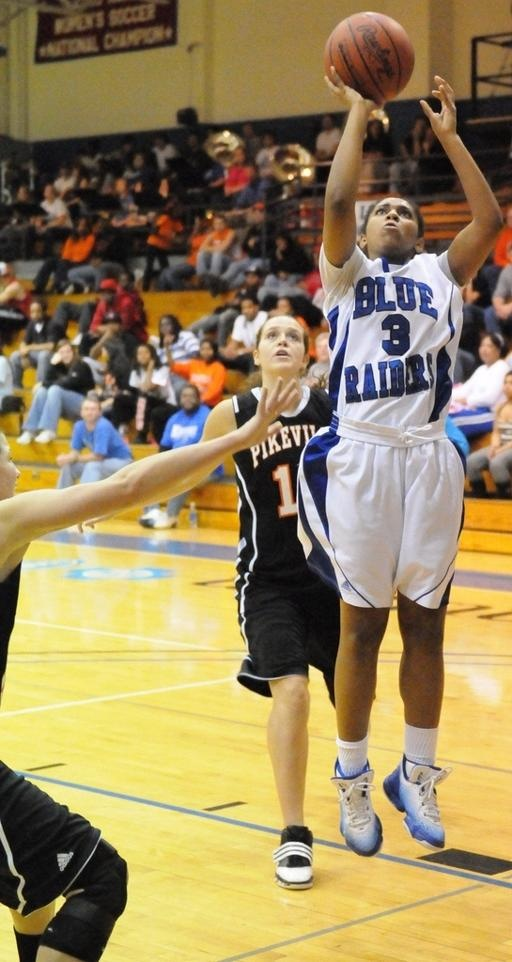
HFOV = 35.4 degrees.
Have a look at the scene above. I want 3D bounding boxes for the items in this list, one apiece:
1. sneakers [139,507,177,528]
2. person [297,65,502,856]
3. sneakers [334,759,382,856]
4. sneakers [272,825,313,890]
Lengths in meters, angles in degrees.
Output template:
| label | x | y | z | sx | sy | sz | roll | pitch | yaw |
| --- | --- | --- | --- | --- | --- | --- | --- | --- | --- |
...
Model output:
| label | x | y | z | sx | sy | sz | roll | pitch | yaw |
| --- | --- | --- | --- | --- | --- | --- | --- | --- | --- |
| sneakers | -1.159 | 0.438 | 9.533 | 0.197 | 0.201 | 0.439 | 1 | -8 | 28 |
| person | 0.331 | -0.048 | 1.939 | 0.454 | 1.926 | 0.299 | 2 | -2 | 2 |
| sneakers | 0.255 | 0.825 | 1.987 | 0.089 | 0.268 | 0.115 | -8 | -16 | 8 |
| sneakers | 0.100 | 0.948 | 2.018 | 0.061 | 0.075 | 0.168 | 1 | -4 | 0 |
